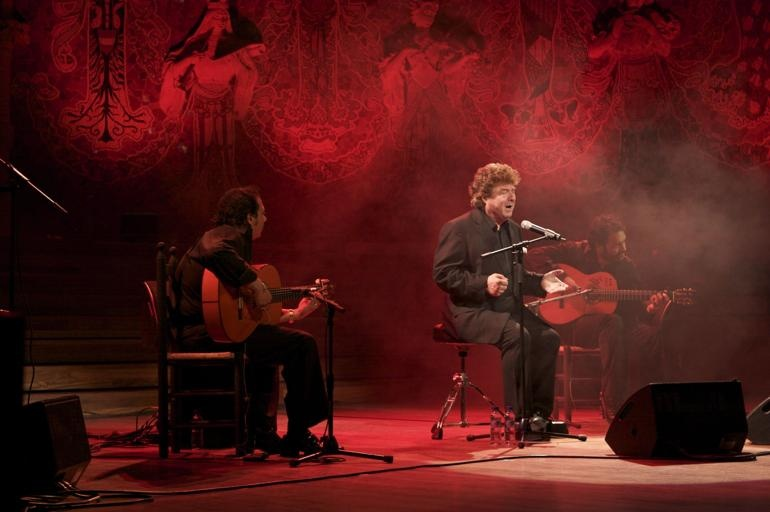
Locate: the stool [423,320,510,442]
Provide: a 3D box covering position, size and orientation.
[{"bbox_3d":[0.676,1.069,6.099,0.655,0.843,0.603,-2,-12,-1],"label":"stool"}]

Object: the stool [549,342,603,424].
[{"bbox_3d":[1.939,1.343,7.195,0.491,0.763,0.459,3,-13,-27],"label":"stool"}]

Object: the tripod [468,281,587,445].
[{"bbox_3d":[1.140,0.882,5.575,0.566,1.077,0.549,1,-1,-22],"label":"tripod"}]

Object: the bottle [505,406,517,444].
[{"bbox_3d":[0.955,1.300,5.338,0.087,0.261,0.087,0,-1,0],"label":"bottle"}]

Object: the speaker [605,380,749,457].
[{"bbox_3d":[2.077,1.153,4.958,0.848,0.494,0.667,-8,-8,21],"label":"speaker"}]

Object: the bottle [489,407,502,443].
[{"bbox_3d":[0.849,1.297,5.405,0.086,0.254,0.145,0,-1,8],"label":"bottle"}]

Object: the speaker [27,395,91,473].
[{"bbox_3d":[-1.884,1.041,4.057,0.135,0.443,0.386,0,-1,18],"label":"speaker"}]

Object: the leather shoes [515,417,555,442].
[{"bbox_3d":[1.130,1.331,5.383,0.218,0.092,0.302,0,-4,15],"label":"leather shoes"}]

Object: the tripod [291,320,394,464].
[{"bbox_3d":[-0.389,1.241,6.325,1.029,1.369,0.892,2,8,21],"label":"tripod"}]
